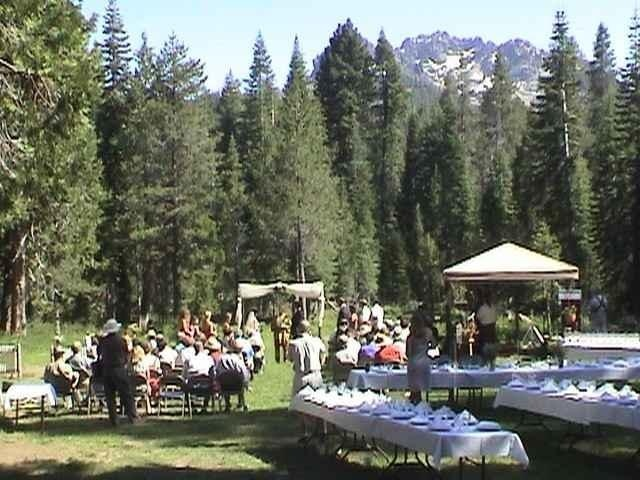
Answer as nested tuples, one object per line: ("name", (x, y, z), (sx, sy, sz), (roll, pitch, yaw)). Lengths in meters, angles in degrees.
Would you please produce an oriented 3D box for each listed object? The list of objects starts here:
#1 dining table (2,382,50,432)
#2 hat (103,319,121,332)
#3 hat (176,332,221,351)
("dining table", (-8.548, 4.770, 28.190), (1.360, 1.497, 1.512), (2, -3, -15))
("hat", (-6.110, 2.551, 28.314), (0.439, 0.439, 0.962), (-1, -8, -13))
("hat", (-3.814, 3.385, 31.592), (0.857, 0.530, 1.165), (9, -6, -41))
